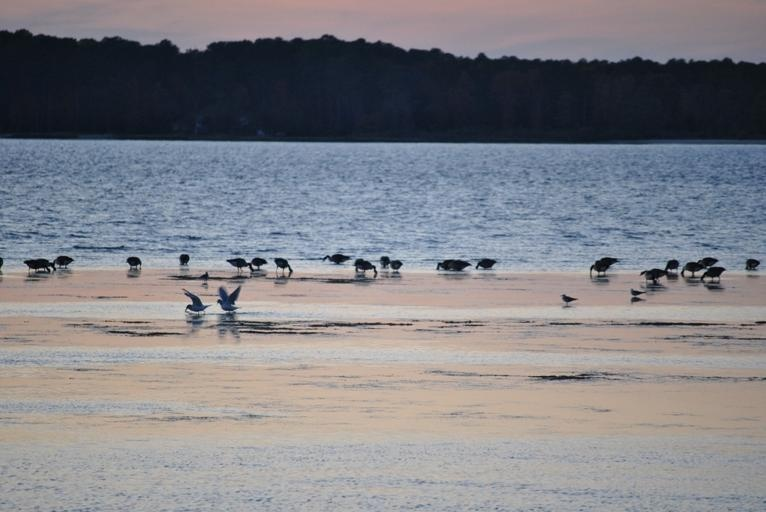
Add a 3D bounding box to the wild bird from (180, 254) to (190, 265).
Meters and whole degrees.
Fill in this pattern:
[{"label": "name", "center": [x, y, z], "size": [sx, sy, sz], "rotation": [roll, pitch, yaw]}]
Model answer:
[{"label": "wild bird", "center": [-11.864, 0.171, 106.155], "size": [0.698, 0.567, 0.679], "rotation": [4, 17, 7]}]
